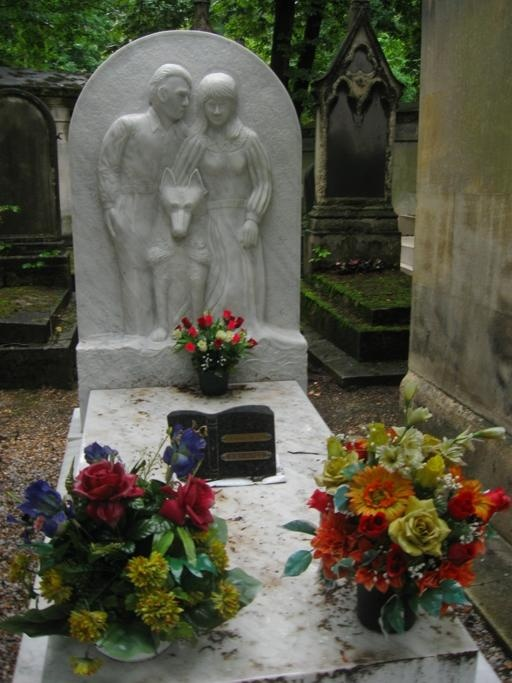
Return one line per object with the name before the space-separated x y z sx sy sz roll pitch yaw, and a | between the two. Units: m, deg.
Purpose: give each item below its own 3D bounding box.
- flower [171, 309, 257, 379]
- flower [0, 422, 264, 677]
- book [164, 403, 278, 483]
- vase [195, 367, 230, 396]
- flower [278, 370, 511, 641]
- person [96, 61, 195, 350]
flower | -0.207 0.038 3.635 0.444 0.276 0.420 12 -37 -32
flower | -0.279 0.500 1.455 0.449 0.575 0.502 6 13 22
book | -0.174 0.437 2.680 0.557 0.376 0.106 -2 32 -7
vase | -0.252 0.223 3.572 0.169 0.127 0.170 0 7 -3
flower | 0.316 0.385 1.588 0.652 0.603 0.623 -4 12 2
person | -0.664 -0.801 3.706 0.533 1.572 0.125 0 13 -6
